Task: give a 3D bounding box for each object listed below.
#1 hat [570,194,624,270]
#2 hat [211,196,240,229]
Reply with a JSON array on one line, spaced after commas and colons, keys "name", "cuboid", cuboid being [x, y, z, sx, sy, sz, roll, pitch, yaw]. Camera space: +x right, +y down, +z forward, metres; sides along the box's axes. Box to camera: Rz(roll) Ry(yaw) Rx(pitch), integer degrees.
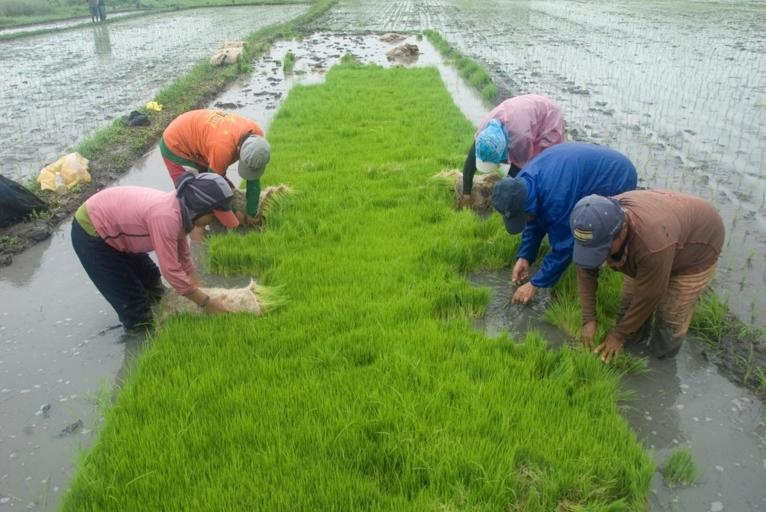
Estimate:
[{"name": "hat", "cuboid": [2.429, -0.327, 7.216, 0.581, 0.471, 0.911, 1, 41, 41]}, {"name": "hat", "cuboid": [-2.114, -0.602, 8.204, 0.227, 0.480, 0.295, -39, 42, 11]}]
